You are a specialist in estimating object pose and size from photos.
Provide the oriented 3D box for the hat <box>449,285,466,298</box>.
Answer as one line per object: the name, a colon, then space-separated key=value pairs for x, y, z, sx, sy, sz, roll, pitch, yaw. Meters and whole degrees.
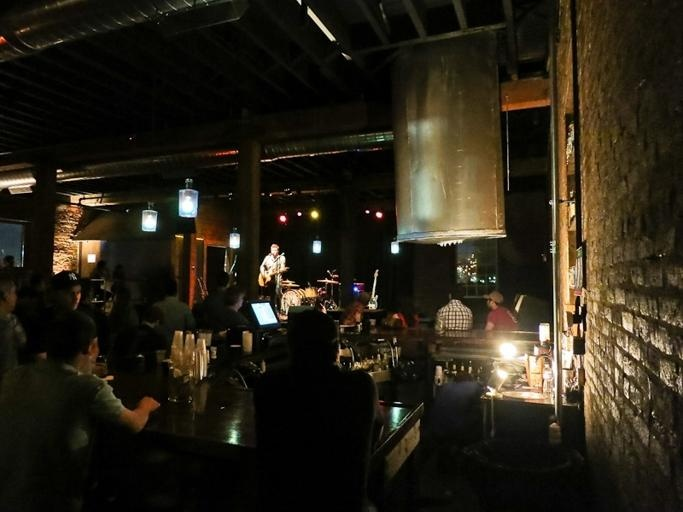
hat: x=2.507 y=0.761 z=12.820 sx=0.326 sy=0.353 sz=0.358 roll=4 pitch=-6 yaw=-3

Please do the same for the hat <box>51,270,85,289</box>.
hat: x=-2.299 y=0.192 z=4.837 sx=0.223 sy=0.134 sz=0.172 roll=7 pitch=6 yaw=14

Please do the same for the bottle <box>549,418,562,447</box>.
bottle: x=1.619 y=1.318 z=4.455 sx=0.077 sy=0.190 sz=0.170 roll=1 pitch=-2 yaw=17

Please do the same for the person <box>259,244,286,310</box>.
person: x=-1.351 y=0.403 z=11.426 sx=0.550 sy=1.413 sz=0.416 roll=9 pitch=37 yaw=-3

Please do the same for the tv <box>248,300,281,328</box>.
tv: x=-0.737 y=0.543 z=5.505 sx=0.049 sy=0.383 sz=0.382 roll=-31 pitch=-22 yaw=23

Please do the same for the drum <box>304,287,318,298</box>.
drum: x=-0.622 y=0.707 z=11.508 sx=0.181 sy=0.147 sz=0.192 roll=2 pitch=4 yaw=0
